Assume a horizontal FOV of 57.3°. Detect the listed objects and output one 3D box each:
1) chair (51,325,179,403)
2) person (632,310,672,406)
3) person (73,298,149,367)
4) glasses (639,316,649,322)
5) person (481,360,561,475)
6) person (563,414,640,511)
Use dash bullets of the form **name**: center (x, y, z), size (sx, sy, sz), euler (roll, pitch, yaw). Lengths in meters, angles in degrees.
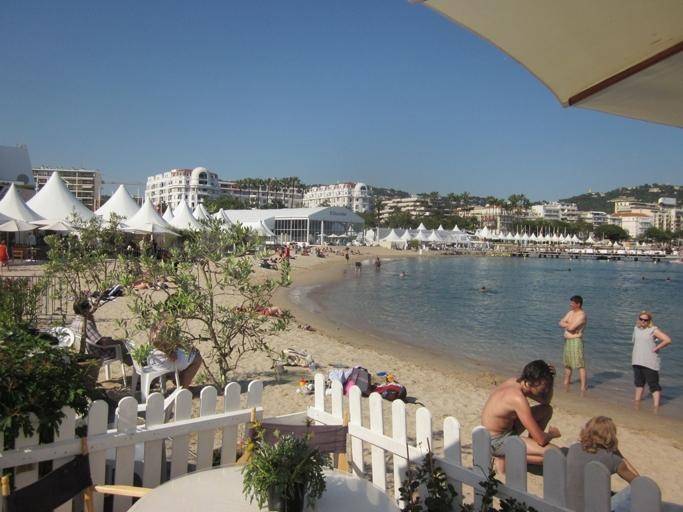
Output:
- **chair**: center (-3.269, 1.449, 9.255), size (1.523, 1.038, 2.646), euler (-3, 5, -30)
- **person**: center (5.281, 1.804, 10.714), size (0.509, 1.823, 1.457), euler (1, 4, 26)
- **person**: center (-3.650, 1.297, 9.463), size (0.572, 1.330, 0.741), euler (-6, 2, 33)
- **glasses**: center (4.959, 1.026, 10.242), size (0.153, 0.096, 0.138), euler (3, 5, 41)
- **person**: center (1.782, 1.738, 6.246), size (0.736, 1.424, 0.944), euler (1, 4, 18)
- **person**: center (2.177, 1.725, 5.241), size (0.509, 0.684, 0.893), euler (3, 5, 44)
